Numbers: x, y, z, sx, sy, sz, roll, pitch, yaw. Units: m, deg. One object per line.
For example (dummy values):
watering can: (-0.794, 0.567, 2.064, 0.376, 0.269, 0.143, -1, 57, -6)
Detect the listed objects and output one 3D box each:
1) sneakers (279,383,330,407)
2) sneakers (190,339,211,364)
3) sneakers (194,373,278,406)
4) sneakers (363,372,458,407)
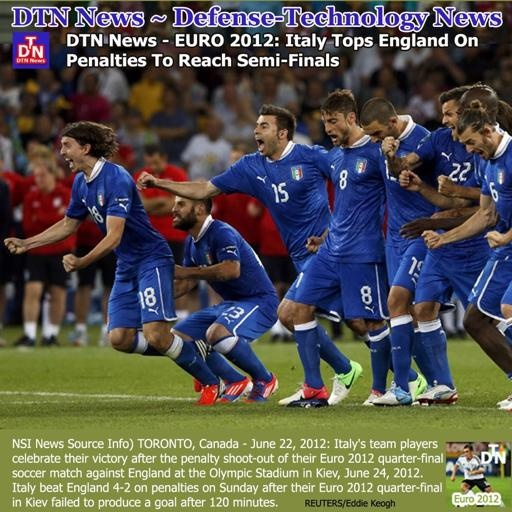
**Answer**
sneakers: (0.316, 1.084, 6.020, 0.466, 0.149, 0.136, 0, -6, -5)
sneakers: (-0.437, 0.774, 6.433, 0.173, 0.166, 0.138, -30, -2, 9)
sneakers: (-0.157, 1.094, 6.336, 0.734, 0.244, 0.228, 5, -7, -26)
sneakers: (1.166, 1.033, 6.032, 0.693, 0.205, 0.216, 4, -18, -13)
